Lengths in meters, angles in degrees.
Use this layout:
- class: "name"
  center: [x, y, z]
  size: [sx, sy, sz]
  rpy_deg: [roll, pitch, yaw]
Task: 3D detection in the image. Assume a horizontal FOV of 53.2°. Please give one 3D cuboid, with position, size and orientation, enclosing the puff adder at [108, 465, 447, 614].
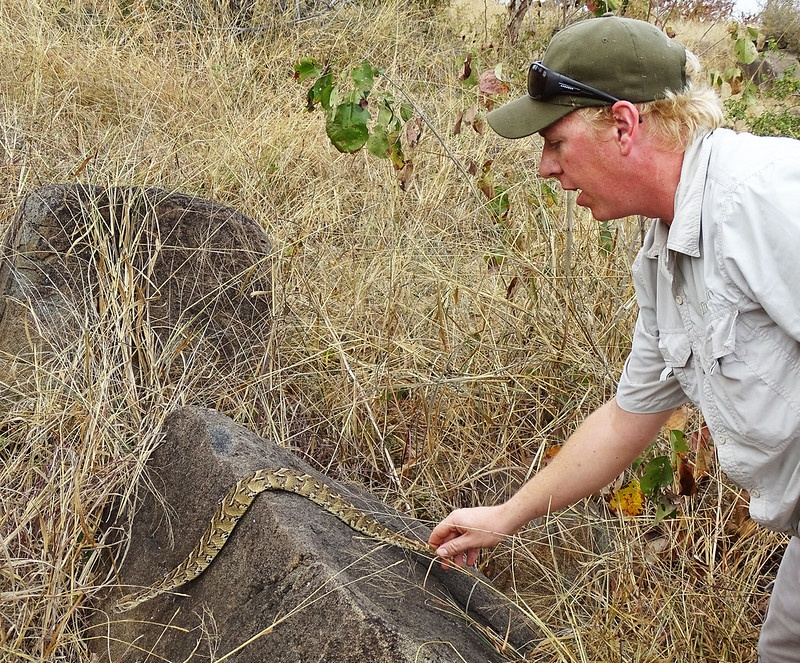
- class: "puff adder"
  center: [-0.525, 0.729, 3.063]
  size: [0.948, 0.096, 0.581]
  rpy_deg: [-13, 22, -1]
